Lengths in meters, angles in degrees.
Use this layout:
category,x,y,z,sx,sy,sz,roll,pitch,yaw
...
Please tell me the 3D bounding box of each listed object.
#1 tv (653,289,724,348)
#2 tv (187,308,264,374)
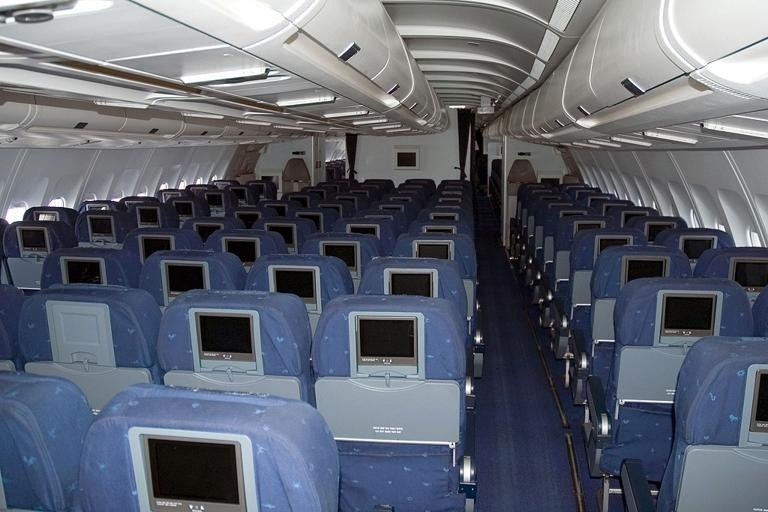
category,x,y,z,sx,sy,sz,roll,pitch,yaw
tv,2.673,0.518,4.692,0.511,0.474,0.271,1,7,12
tv,-1.254,0.648,4.269,0.552,0.497,0.071,1,13,8
